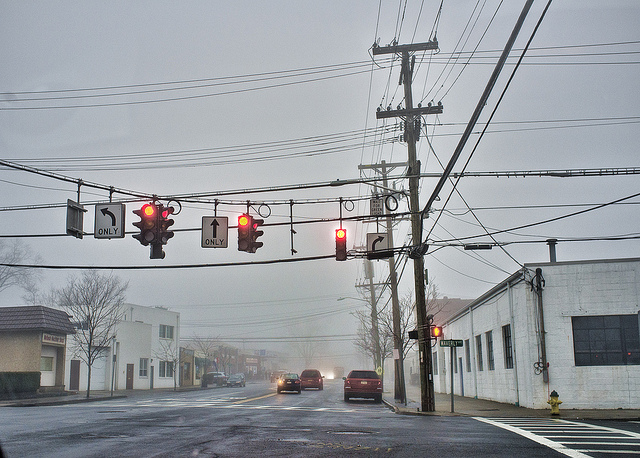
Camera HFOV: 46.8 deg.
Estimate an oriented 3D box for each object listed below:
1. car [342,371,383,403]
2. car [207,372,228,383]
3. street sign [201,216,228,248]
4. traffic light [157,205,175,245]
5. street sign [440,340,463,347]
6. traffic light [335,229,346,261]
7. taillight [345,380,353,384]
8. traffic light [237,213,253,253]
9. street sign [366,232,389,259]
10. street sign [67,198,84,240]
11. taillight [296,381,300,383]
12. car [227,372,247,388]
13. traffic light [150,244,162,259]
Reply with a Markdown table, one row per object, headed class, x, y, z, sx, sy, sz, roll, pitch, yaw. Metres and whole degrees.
| class | x | y | z | sx | sy | sz | roll | pitch | yaw |
| --- | --- | --- | --- | --- | --- | --- | --- | --- | --- |
| car | 2.640 | 9.371 | 43.971 | 2.169 | 1.925 | 1.433 | -2 | -12 | 2 |
| car | -11.435 | 16.238 | 81.103 | 2.645 | 1.086 | 1.310 | 4 | -14 | -4 |
| street sign | -4.162 | 0.169 | 29.262 | 1.145 | 1.512 | 0.153 | 0 | -7 | -3 |
| traffic light | -6.109 | -0.217 | 29.281 | 0.608 | 1.616 | 1.395 | 2 | -13 | -13 |
| street sign | 6.462 | 5.596 | 36.264 | 1.022 | 0.360 | 1.099 | -4 | -14 | 10 |
| traffic light | 0.963 | 0.656 | 32.611 | 0.421 | 1.255 | 0.802 | -1 | -12 | -1 |
| taillight | 1.730 | 9.151 | 44.033 | 0.197 | 0.153 | 0.308 | 10 | -15 | -40 |
| traffic light | -3.040 | 0.117 | 30.204 | 0.559 | 1.645 | 0.332 | 1 | -12 | -8 |
| street sign | 2.738 | 0.813 | 35.146 | 0.160 | 1.236 | 1.242 | -2 | -3 | 34 |
| street sign | -9.733 | -0.368 | 29.391 | 0.415 | 1.469 | 0.852 | -6 | -13 | 24 |
| taillight | -1.595 | 11.404 | 55.016 | 0.341 | 0.110 | 0.251 | -8 | -11 | 40 |
| car | -8.913 | 16.313 | 79.494 | 1.618 | 1.353 | 3.039 | -1 | -14 | -2 |
| traffic light | -6.081 | 0.830 | 27.499 | 0.553 | 0.710 | 0.494 | 1 | -5 | -18 |
